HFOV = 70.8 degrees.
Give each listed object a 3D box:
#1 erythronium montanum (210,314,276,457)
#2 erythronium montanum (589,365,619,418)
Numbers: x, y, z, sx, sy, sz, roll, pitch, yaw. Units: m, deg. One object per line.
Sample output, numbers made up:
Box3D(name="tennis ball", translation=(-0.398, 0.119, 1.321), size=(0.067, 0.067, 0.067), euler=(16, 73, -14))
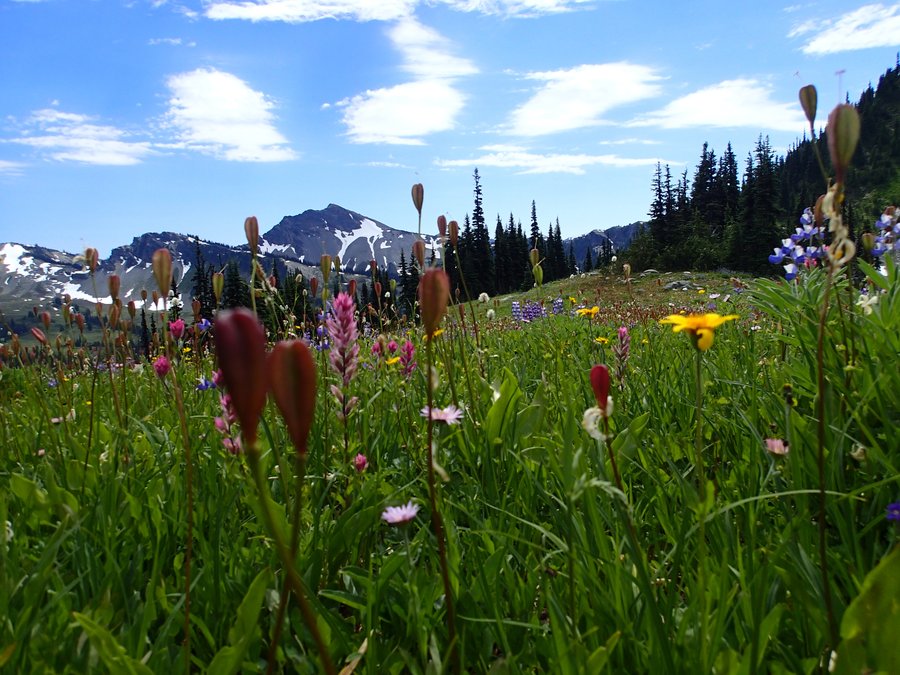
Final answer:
Box3D(name="erythronium montanum", translation=(-0.478, 0.089, 1.460), size=(0.110, 0.314, 0.201), euler=(-5, 4, -18))
Box3D(name="erythronium montanum", translation=(0.457, 0.154, 1.880), size=(0.056, 0.246, 0.040), euler=(-3, -14, 9))
